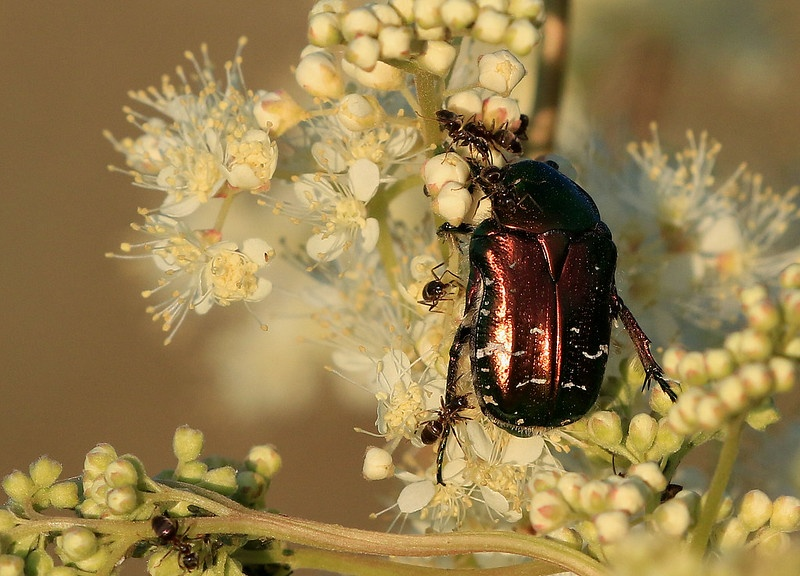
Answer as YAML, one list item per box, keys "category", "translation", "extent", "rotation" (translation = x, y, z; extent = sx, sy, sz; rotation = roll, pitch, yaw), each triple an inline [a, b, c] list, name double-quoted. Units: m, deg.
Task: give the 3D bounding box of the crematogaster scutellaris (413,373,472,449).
- category: "crematogaster scutellaris"
  translation: [0.112, 0.308, 2.755]
  extent: [0.142, 0.157, 0.147]
  rotation: [0, -71, 30]

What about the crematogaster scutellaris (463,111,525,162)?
- category: "crematogaster scutellaris"
  translation: [0.232, -0.369, 2.679]
  extent: [0.131, 0.131, 0.125]
  rotation: [2, -71, -3]

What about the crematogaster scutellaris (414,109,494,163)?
- category: "crematogaster scutellaris"
  translation: [0.152, -0.365, 2.587]
  extent: [0.077, 0.060, 0.245]
  rotation: [-41, -55, 22]

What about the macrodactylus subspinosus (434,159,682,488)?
- category: "macrodactylus subspinosus"
  translation: [0.364, -0.050, 2.729]
  extent: [0.617, 0.801, 0.266]
  rotation: [-4, -7, -13]

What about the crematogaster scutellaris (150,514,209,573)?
- category: "crematogaster scutellaris"
  translation: [-0.461, 0.529, 2.280]
  extent: [0.110, 0.080, 0.105]
  rotation: [-1, -51, -9]
